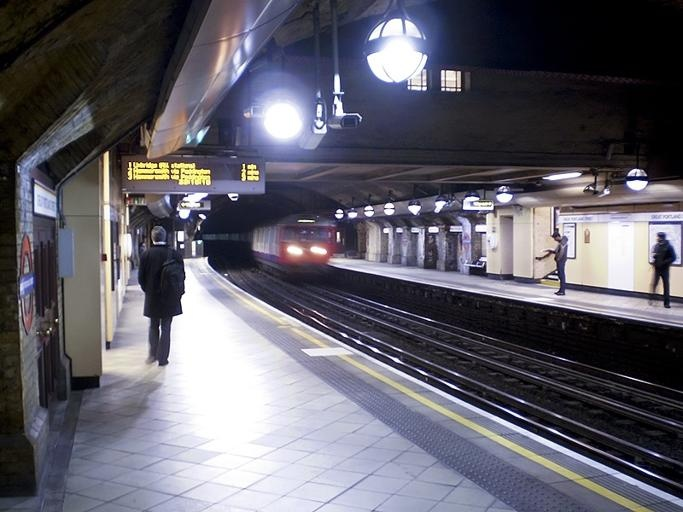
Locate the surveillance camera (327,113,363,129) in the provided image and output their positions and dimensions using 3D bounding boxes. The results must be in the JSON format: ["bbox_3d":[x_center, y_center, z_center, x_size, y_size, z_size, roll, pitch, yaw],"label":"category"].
[{"bbox_3d":[0.027,-1.880,8.088,0.367,0.171,0.489,1,3,-14],"label":"surveillance camera"}]

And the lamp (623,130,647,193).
[{"bbox_3d":[6.778,-2.115,13.041,0.443,1.259,1.113,3,3,26],"label":"lamp"}]

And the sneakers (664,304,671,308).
[{"bbox_3d":[8.761,1.357,15.309,0.111,0.106,0.177,0,-6,1],"label":"sneakers"}]

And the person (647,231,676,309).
[{"bbox_3d":[8.724,0.375,15.487,0.538,1.999,1.396,3,4,29],"label":"person"}]

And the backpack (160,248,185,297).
[{"bbox_3d":[-2.478,0.253,8.376,0.325,0.703,0.303,1,3,-8],"label":"backpack"}]
